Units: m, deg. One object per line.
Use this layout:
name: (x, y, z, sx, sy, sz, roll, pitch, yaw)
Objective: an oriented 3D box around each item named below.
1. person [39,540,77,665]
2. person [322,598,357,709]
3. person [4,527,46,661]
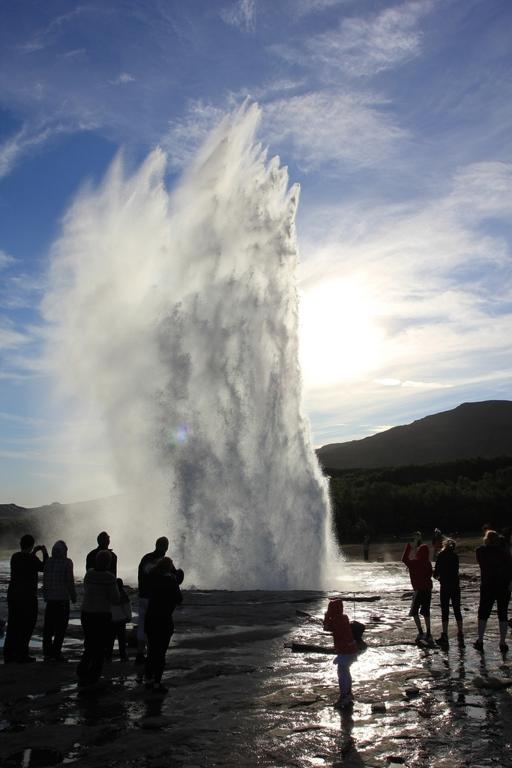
person: (-3.069, 3.385, 10.563, 0.458, 1.817, 1.250, 0, -8, -17)
person: (1.035, 3.290, 8.407, 0.377, 1.153, 0.626, -3, -7, 5)
person: (-3.688, 3.434, 10.913, 0.649, 1.956, 1.205, 0, -8, -18)
